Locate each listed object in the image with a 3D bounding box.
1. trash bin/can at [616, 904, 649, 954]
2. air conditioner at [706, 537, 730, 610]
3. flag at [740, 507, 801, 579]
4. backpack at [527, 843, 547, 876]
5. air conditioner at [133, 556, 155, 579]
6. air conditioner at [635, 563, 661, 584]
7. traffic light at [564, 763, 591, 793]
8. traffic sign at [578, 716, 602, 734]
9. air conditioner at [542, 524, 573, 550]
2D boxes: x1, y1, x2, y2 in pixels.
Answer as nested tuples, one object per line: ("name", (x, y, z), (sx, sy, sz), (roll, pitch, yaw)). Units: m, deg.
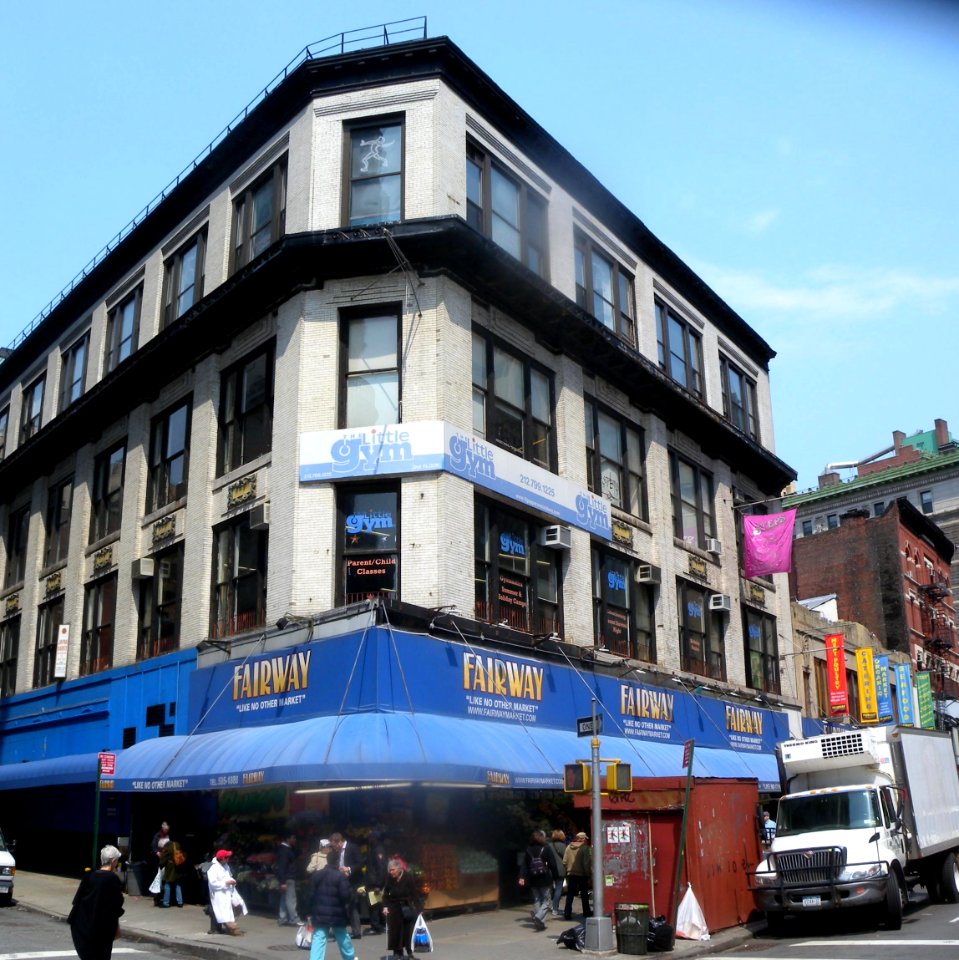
("trash bin/can", (2.211, 6.741, 14.816), (0.513, 0.832, 0.600), (1, -41, 3))
("air conditioner", (7.766, 3.010, 32.393), (0.450, 2.494, 1.154), (-15, -22, 36))
("flag", (9.430, 1.982, 32.453), (1.559, 2.505, 2.639), (-6, -20, 12))
("backpack", (1.015, 6.766, 17.577), (0.325, 0.512, 0.210), (-4, -18, 6))
("air conditioner", (-8.899, 2.309, 26.218), (0.457, 0.563, 0.871), (10, -23, -30))
("air conditioner", (4.753, 2.663, 28.240), (0.501, 0.556, 0.870), (-13, -23, 30))
("traffic light", (1.548, 4.594, 15.381), (0.345, 0.602, 0.445), (-6, -12, 29))
("traffic sign", (1.816, 4.082, 16.430), (0.351, 0.319, 0.135), (-6, -26, 10))
("air conditioner", (1.906, 1.436, 24.177), (0.518, 0.611, 0.549), (-15, -20, 36))
